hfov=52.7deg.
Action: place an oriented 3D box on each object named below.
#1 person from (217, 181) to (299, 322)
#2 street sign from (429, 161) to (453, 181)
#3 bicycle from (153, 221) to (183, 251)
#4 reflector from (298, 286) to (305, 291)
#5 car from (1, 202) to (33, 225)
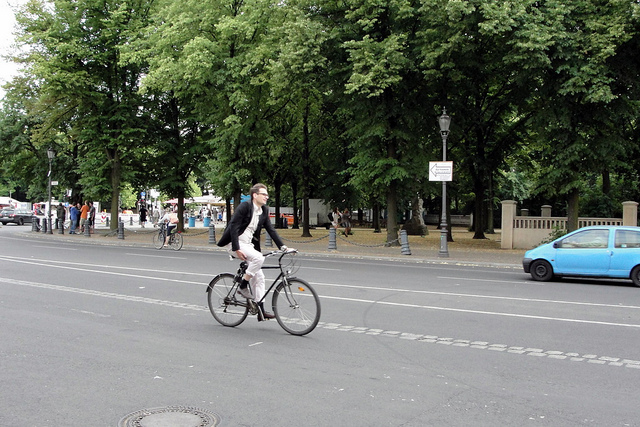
[{"bbox_3d":[-1.362,0.816,13.368,1.028,2.791,0.529,0,-1,-8],"label":"person"},{"bbox_3d":[5.059,-1.784,27.079,0.730,0.854,0.113,-11,-10,10],"label":"street sign"},{"bbox_3d":[-7.300,1.129,30.802,1.951,1.154,0.986,0,0,30],"label":"bicycle"},{"bbox_3d":[-0.379,1.527,13.034,0.099,0.052,0.033,18,13,29],"label":"reflector"},{"bbox_3d":[-28.833,0.292,61.197,2.629,1.515,1.487,1,-2,-28],"label":"car"}]
